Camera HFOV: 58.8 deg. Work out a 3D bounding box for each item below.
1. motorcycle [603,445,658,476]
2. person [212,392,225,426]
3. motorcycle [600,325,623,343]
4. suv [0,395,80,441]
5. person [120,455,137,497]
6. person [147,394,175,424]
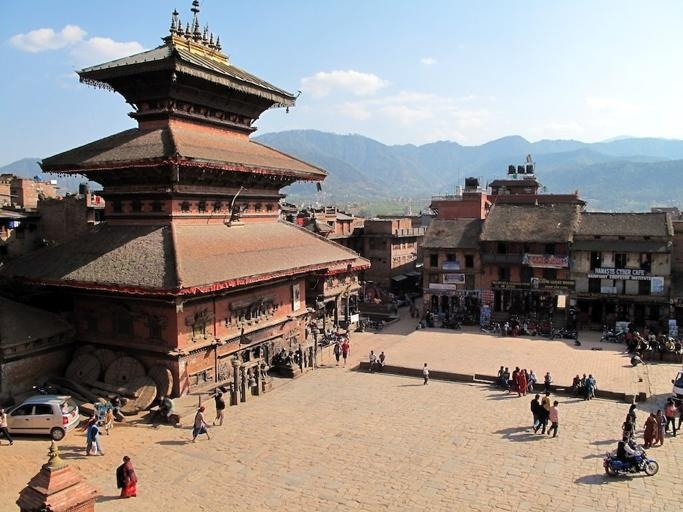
[{"bbox_3d":[13.939,9.870,29.173,2.363,1.143,1.305,-6,6,4],"label":"motorcycle"},{"bbox_3d":[-6.745,8.182,33.312,0.609,1.892,1.417,-2,14,-12],"label":"person"},{"bbox_3d":[23.471,6.893,52.697,2.176,1.154,1.011,-2,-38,29],"label":"motorcycle"},{"bbox_3d":[-15.404,8.195,31.250,3.568,1.361,1.862,7,7,-3],"label":"suv"},{"bbox_3d":[-9.617,9.730,27.157,0.773,1.917,1.070,-4,15,-19],"label":"person"},{"bbox_3d":[-9.749,8.403,32.891,1.564,1.257,0.360,9,-10,39],"label":"person"}]
